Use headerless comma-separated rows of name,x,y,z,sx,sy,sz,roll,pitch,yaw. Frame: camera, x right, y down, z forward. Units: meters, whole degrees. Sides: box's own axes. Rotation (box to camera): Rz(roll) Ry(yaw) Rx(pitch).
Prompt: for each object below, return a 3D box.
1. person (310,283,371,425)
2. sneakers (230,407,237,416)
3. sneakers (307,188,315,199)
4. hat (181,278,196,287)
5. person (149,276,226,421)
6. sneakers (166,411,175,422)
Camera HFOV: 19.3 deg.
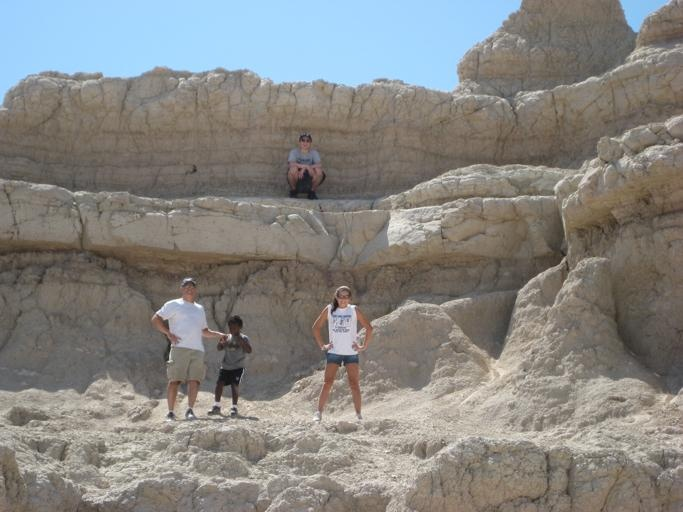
person,0.013,1.346,26.873,0.810,1.576,1.038,-3,-32,-2
sneakers,-1.463,2.149,27.190,0.064,0.133,0.141,0,-45,-2
sneakers,-0.472,-0.955,31.343,0.140,0.188,0.126,0,-21,-5
hat,-2.065,0.338,26.970,0.158,0.092,0.243,3,-8,-15
person,-2.097,1.283,26.815,0.761,1.884,0.979,-4,-32,0
sneakers,-2.268,2.170,26.668,0.077,0.125,0.123,4,-16,-20
